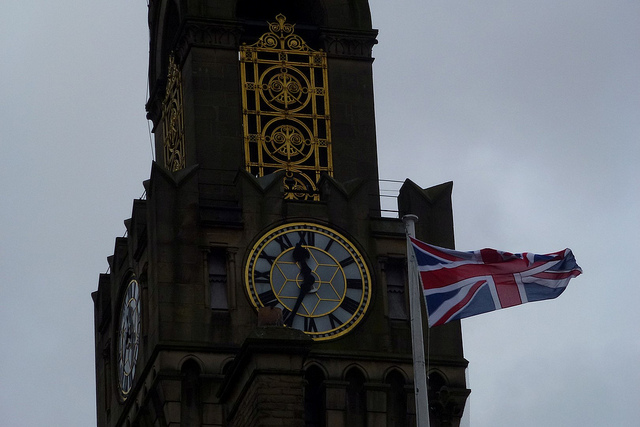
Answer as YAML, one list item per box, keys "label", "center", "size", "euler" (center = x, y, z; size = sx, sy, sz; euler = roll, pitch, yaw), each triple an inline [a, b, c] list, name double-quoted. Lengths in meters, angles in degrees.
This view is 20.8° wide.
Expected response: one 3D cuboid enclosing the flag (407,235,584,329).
- label: "flag"
  center: [5.699, 1.883, 53.502]
  size: [5.499, 2.659, 0.878]
  euler: [-7, -21, -18]
